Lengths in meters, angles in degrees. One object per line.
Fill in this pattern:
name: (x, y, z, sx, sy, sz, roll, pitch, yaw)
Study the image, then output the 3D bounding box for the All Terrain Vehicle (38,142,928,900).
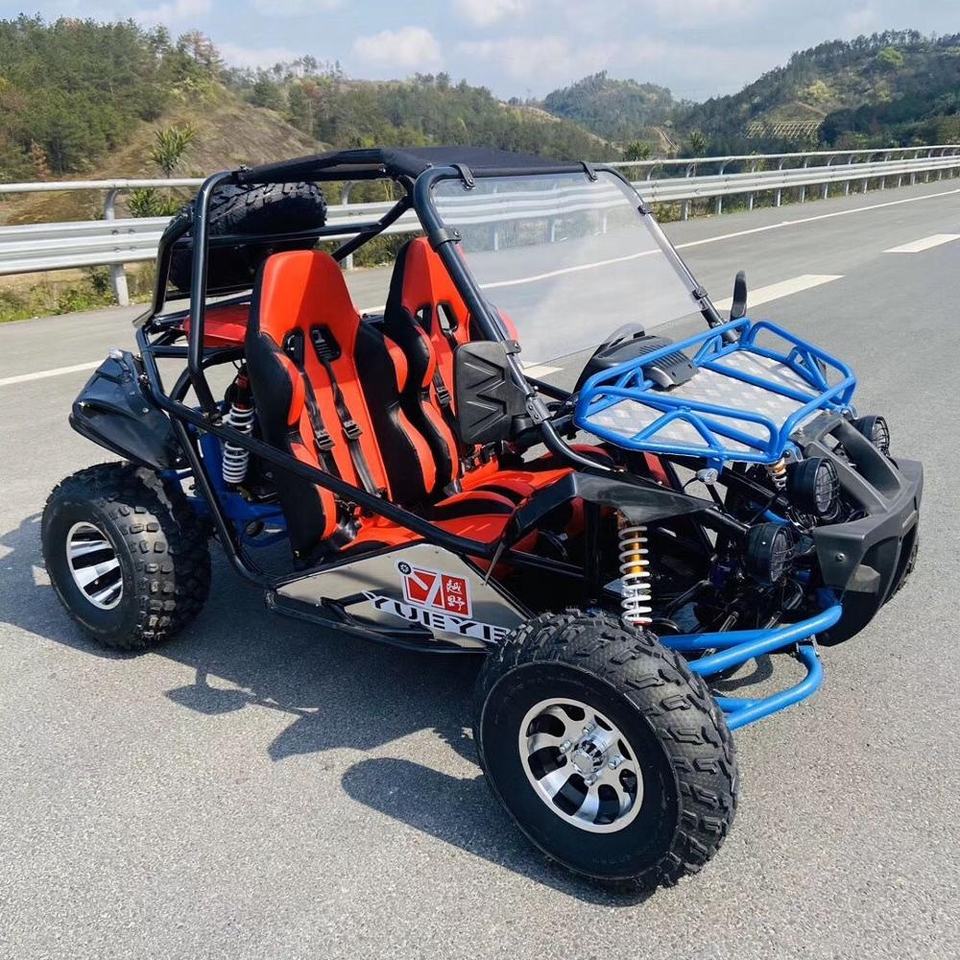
All Terrain Vehicle: (-0.019, -0.136, 2.721, 2.406, 1.788, 1.614, 11, 28, 36)

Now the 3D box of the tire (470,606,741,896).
tire: (0.287, 0.650, 2.035, 0.651, 0.620, 0.306, 7, 27, 29)

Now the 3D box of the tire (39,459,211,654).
tire: (-1.337, 0.295, 3.189, 0.770, 0.637, 0.315, 7, 17, 40)

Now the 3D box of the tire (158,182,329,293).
tire: (-0.828, -0.853, 3.016, 0.740, 0.434, 0.366, 22, 25, 31)
